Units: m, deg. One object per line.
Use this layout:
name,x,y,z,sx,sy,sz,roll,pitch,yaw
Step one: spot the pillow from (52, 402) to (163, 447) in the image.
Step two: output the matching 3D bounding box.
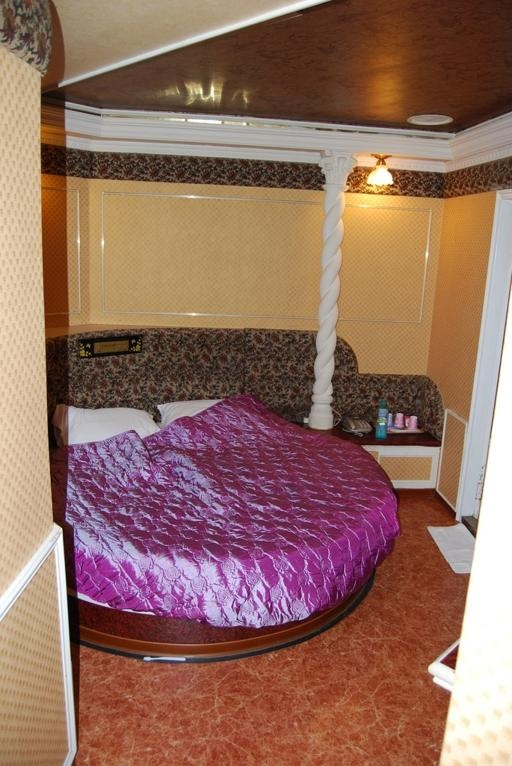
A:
pillow,-1.298,0.322,4.548,0.491,0.132,0.431,-5,32,-41

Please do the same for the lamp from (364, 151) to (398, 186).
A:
lamp,1.184,-1.994,5.193,0.374,0.390,0.377,6,23,18

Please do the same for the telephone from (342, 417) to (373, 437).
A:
telephone,1.035,0.450,5.640,0.165,0.091,0.279,-2,6,-15

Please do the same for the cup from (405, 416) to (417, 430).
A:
cup,1.683,0.430,5.932,0.132,0.209,0.133,2,0,0

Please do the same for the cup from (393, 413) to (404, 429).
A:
cup,1.548,0.410,5.916,0.146,0.159,0.146,0,3,0

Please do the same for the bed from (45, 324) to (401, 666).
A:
bed,-0.346,0.532,4.460,2.779,1.688,3.265,3,11,1
